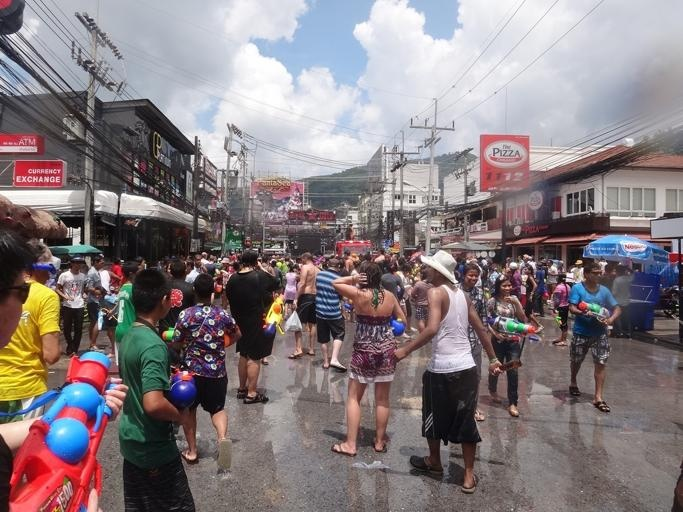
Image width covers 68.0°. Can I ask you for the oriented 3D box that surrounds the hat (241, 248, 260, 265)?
[{"bbox_3d":[-1.258,0.013,6.944,0.170,0.233,0.230,1,-10,-7],"label":"hat"}]

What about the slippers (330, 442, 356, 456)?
[{"bbox_3d":[0.025,2.142,5.649,0.223,0.072,0.118,10,4,38],"label":"slippers"}]

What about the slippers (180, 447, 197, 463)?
[{"bbox_3d":[-1.590,2.102,5.331,0.116,0.111,0.264,2,3,-16],"label":"slippers"}]

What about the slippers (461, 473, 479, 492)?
[{"bbox_3d":[1.303,2.256,5.081,0.128,0.142,0.286,4,4,38],"label":"slippers"}]

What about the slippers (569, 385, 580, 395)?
[{"bbox_3d":[3.586,2.080,7.800,0.084,0.094,0.239,-2,-11,8],"label":"slippers"}]

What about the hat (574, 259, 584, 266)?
[{"bbox_3d":[9.081,0.224,19.394,0.305,0.121,0.291,-3,5,-11],"label":"hat"}]

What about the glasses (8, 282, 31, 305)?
[{"bbox_3d":[-1.715,0.201,2.731,0.099,0.121,0.169,0,4,-18],"label":"glasses"}]

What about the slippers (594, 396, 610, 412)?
[{"bbox_3d":[3.664,2.100,7.147,0.118,0.103,0.253,-4,-7,2],"label":"slippers"}]

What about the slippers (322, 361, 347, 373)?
[{"bbox_3d":[-0.116,1.940,8.864,0.457,0.198,0.170,6,6,-4],"label":"slippers"}]

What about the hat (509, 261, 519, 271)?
[{"bbox_3d":[4.988,0.296,14.771,0.232,0.162,0.334,0,-1,11],"label":"hat"}]

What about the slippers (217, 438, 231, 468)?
[{"bbox_3d":[-1.120,1.880,4.817,0.149,0.309,0.116,1,4,2],"label":"slippers"}]

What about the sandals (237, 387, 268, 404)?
[{"bbox_3d":[-1.247,1.997,7.201,0.312,0.139,0.206,5,-4,-31],"label":"sandals"}]

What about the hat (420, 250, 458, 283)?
[{"bbox_3d":[1.074,0.119,5.506,0.314,0.355,0.513,2,3,15],"label":"hat"}]
